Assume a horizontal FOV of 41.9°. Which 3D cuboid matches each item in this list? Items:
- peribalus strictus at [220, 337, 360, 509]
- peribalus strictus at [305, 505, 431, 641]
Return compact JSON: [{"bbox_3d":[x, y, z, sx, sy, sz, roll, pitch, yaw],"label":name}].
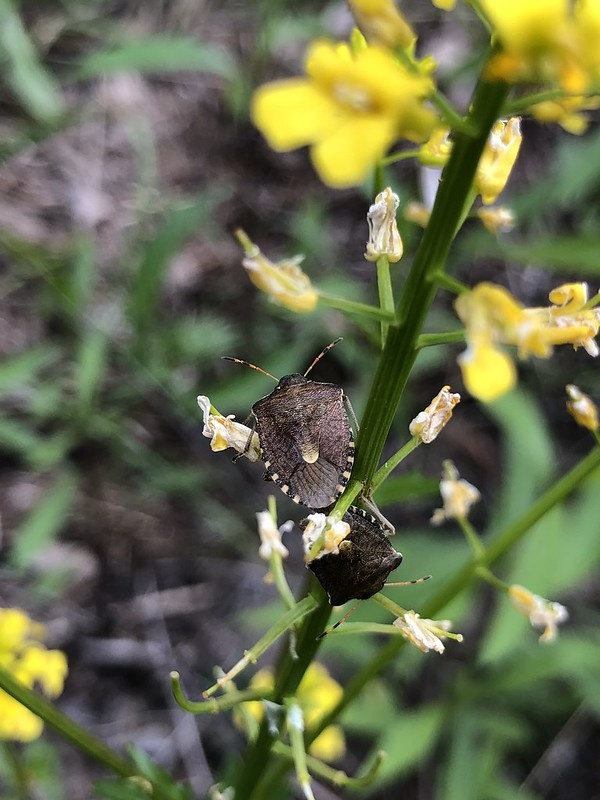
[{"bbox_3d":[0.001,0.055,1.034,0.204,0.066,0.220,-6,60,3],"label":"peribalus strictus"},{"bbox_3d":[0.121,0.258,1.114,0.060,0.202,0.178,45,122,21],"label":"peribalus strictus"}]
